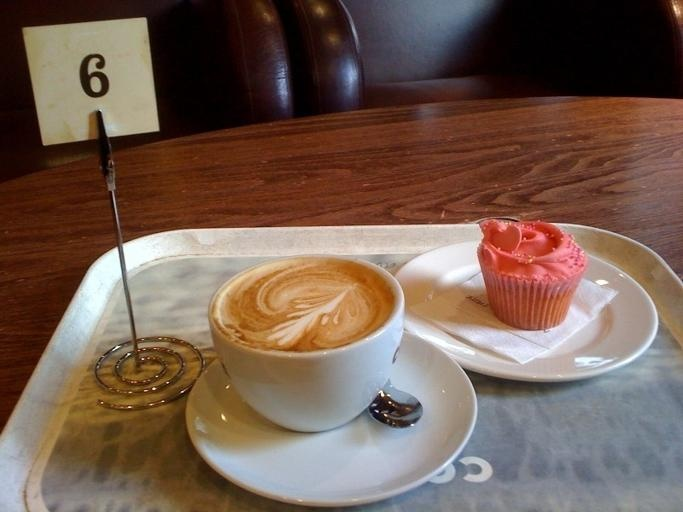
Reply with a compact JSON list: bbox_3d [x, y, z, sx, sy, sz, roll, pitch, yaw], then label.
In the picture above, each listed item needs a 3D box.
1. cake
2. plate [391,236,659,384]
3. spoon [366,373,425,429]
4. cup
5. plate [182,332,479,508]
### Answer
[{"bbox_3d":[0.239,0.033,0.691,0.125,0.108,0.138,-25,33,-25],"label":"cake"},{"bbox_3d":[0.196,0.058,0.601,0.284,0.046,0.256,9,27,22],"label":"plate"},{"bbox_3d":[0.041,0.131,0.477,0.060,0.016,0.069,9,8,9],"label":"spoon"},{"bbox_3d":[-0.022,0.098,0.511,0.174,0.102,0.158,-11,33,-14],"label":"cup"},{"bbox_3d":[-0.005,0.142,0.463,0.253,0.034,0.179,-8,26,-11],"label":"plate"}]
